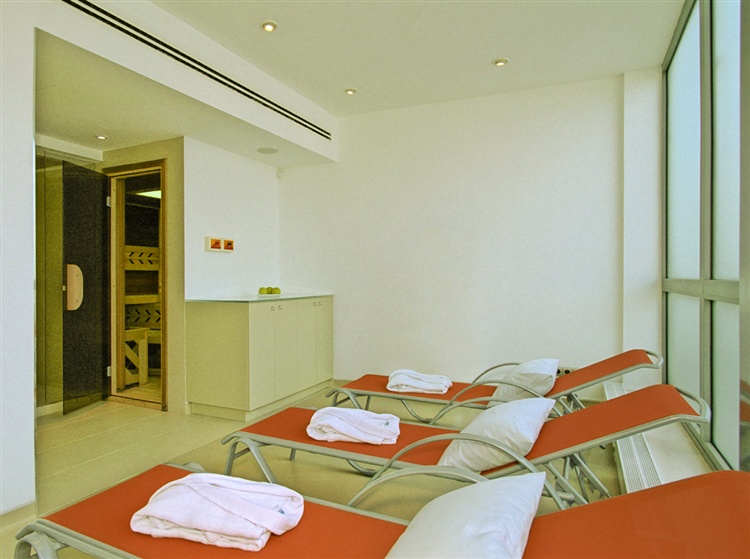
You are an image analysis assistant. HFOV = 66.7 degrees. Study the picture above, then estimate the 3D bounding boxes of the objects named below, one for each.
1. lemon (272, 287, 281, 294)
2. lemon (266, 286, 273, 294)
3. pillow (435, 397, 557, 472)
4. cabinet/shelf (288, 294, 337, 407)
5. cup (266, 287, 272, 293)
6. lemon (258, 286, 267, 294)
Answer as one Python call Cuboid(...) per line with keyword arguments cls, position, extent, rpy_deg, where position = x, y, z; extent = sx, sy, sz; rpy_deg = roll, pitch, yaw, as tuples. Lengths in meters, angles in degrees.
Cuboid(cls="lemon", position=(-1.107, 0.128, 6.400), extent=(0.069, 0.066, 0.068), rpy_deg=(-13, 7, -40))
Cuboid(cls="lemon", position=(-1.175, 0.113, 6.357), extent=(0.054, 0.050, 0.055), rpy_deg=(-6, -3, 16))
Cuboid(cls="pillow", position=(0.691, 0.909, 3.281), extent=(0.441, 0.135, 0.457), rpy_deg=(-27, 5, 17))
Cuboid(cls="cabinet/shelf", position=(-0.671, 0.755, 5.907), extent=(0.348, 1.070, 1.087), rpy_deg=(-1, 0, 23))
Cuboid(cls="cup", position=(-1.183, 0.127, 6.357), extent=(0.051, 0.065, 0.052), rpy_deg=(-3, 3, 0))
Cuboid(cls="lemon", position=(-1.246, 0.120, 6.330), extent=(0.074, 0.089, 0.074), rpy_deg=(2, 5, 6))
